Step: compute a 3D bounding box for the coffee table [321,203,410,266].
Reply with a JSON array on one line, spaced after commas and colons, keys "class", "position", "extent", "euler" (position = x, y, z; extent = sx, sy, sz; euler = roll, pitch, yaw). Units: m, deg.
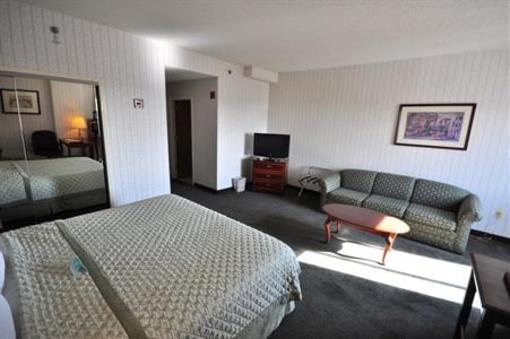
[{"class": "coffee table", "position": [1.699, 0.793, 4.955], "extent": [1.499, 0.676, 0.806], "euler": [15, 33, 33]}]

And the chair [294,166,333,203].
[{"class": "chair", "position": [1.177, 0.222, 7.183], "extent": [0.910, 0.820, 0.648], "euler": [6, 11, 42]}]

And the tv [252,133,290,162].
[{"class": "tv", "position": [0.350, -0.524, 7.245], "extent": [0.851, 0.570, 0.212], "euler": [6, 11, 22]}]

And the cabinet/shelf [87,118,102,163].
[{"class": "cabinet/shelf", "position": [-2.638, -0.508, 5.245], "extent": [0.217, 0.551, 0.596], "euler": [-6, 14, -31]}]

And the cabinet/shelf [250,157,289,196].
[{"class": "cabinet/shelf", "position": [0.410, 0.160, 7.437], "extent": [0.804, 0.751, 0.588], "euler": [6, 8, 26]}]

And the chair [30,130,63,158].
[{"class": "chair", "position": [-3.214, -0.312, 4.968], "extent": [0.341, 0.532, 0.393], "euler": [13, 17, 37]}]
